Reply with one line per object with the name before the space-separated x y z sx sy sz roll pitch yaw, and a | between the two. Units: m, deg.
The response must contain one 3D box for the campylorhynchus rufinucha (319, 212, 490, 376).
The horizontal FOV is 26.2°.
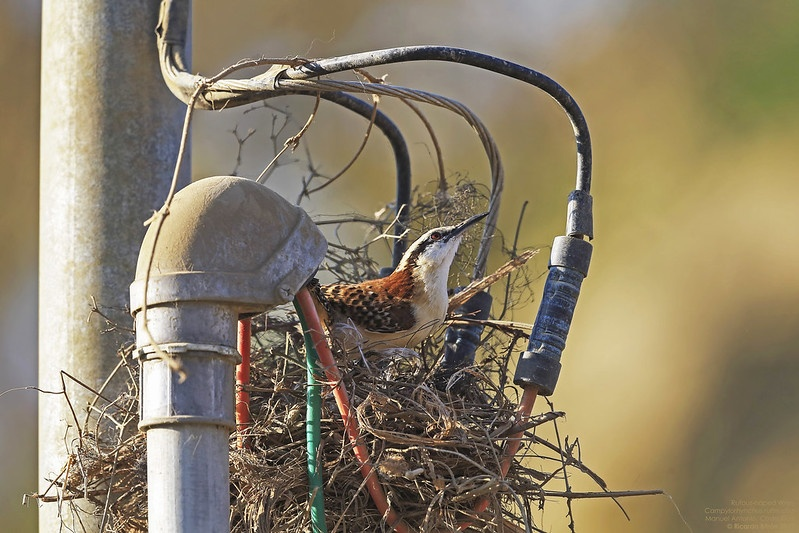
campylorhynchus rufinucha | -0.173 0.125 7.265 1.088 0.676 0.358 -3 -33 -2
